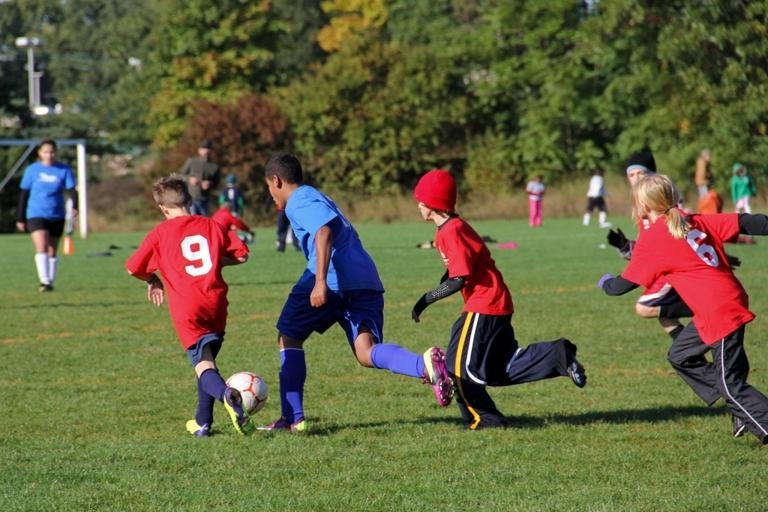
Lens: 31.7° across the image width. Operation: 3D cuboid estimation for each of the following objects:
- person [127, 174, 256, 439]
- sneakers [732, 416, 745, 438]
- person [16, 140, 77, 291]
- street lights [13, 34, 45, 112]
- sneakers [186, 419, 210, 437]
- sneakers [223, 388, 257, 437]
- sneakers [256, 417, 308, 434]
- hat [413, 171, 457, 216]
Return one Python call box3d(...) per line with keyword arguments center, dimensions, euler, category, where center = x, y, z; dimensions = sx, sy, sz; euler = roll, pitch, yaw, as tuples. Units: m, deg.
box3d(center=(-2.345, 0.583, 16.279), dimensions=(1.390, 3.069, 0.682), euler=(-1, 2, 4), category="person")
box3d(center=(4.204, 2.064, 16.133), dimensions=(0.103, 0.131, 0.310), euler=(-5, -28, 4), category="sneakers")
box3d(center=(-4.489, -0.522, 17.931), dimensions=(0.774, 2.003, 0.357), euler=(-2, 2, -14), category="person")
box3d(center=(-4.637, -2.341, 17.624), dimensions=(0.294, 0.992, 0.225), euler=(-1, 2, 20), category="street lights")
box3d(center=(-2.275, 2.104, 16.395), dimensions=(0.347, 0.152, 0.133), euler=(19, 11, 36), category="sneakers")
box3d(center=(-1.791, 1.854, 16.057), dimensions=(0.242, 0.653, 0.272), euler=(-31, 15, -20), category="sneakers")
box3d(center=(-1.252, 2.059, 16.414), dimensions=(0.598, 0.186, 0.215), euler=(2, -6, 3), category="sneakers")
box3d(center=(0.665, -0.756, 16.501), dimensions=(0.502, 0.464, 0.519), euler=(8, 10, 21), category="hat")
